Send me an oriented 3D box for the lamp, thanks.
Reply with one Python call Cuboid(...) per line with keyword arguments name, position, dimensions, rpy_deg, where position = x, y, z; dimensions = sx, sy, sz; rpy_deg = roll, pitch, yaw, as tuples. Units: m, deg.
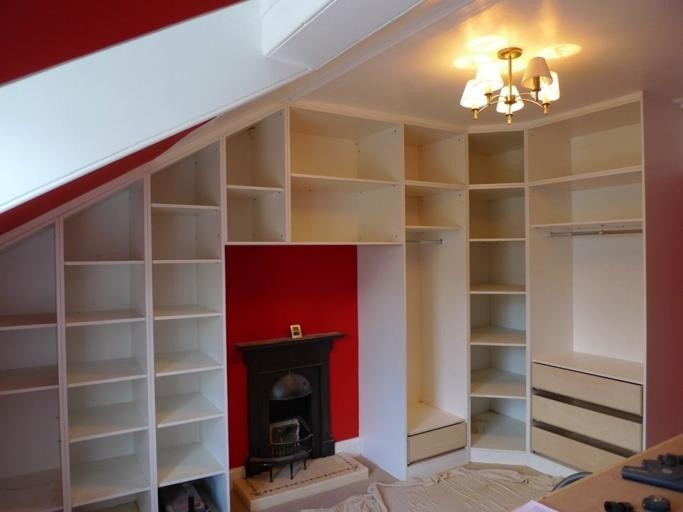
Cuboid(name="lamp", position=(0.950, -0.977, 2.941), dimensions=(0.511, 0.308, 0.449), rpy_deg=(2, -9, -20))
